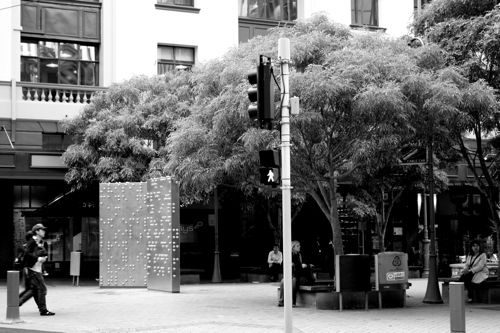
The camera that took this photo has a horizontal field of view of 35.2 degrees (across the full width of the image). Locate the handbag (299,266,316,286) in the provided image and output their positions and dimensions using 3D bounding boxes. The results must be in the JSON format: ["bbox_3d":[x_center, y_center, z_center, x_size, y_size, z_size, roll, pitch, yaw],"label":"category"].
[{"bbox_3d":[2.155,4.266,30.752,0.570,0.801,0.725,2,4,6],"label":"handbag"}]

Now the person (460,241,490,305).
[{"bbox_3d":[8.870,4.191,31.391,0.984,2.486,0.926,-3,-7,16],"label":"person"}]

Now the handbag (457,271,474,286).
[{"bbox_3d":[8.386,4.385,31.179,0.762,0.512,0.387,3,-8,-29],"label":"handbag"}]

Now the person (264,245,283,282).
[{"bbox_3d":[1.204,4.845,40.286,0.694,1.807,1.097,3,33,6],"label":"person"}]

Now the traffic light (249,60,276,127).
[{"bbox_3d":[0.305,-2.212,24.408,0.767,2.005,0.480,-1,-6,0],"label":"traffic light"}]

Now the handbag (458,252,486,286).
[{"bbox_3d":[8.599,4.039,31.248,1.032,1.286,0.364,1,-7,-19],"label":"handbag"}]

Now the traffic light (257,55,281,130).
[{"bbox_3d":[0.442,-2.272,24.384,0.556,2.214,0.407,1,-6,-17],"label":"traffic light"}]

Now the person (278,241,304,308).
[{"bbox_3d":[1.525,4.123,30.307,0.801,2.489,1.032,-4,-7,29],"label":"person"}]
